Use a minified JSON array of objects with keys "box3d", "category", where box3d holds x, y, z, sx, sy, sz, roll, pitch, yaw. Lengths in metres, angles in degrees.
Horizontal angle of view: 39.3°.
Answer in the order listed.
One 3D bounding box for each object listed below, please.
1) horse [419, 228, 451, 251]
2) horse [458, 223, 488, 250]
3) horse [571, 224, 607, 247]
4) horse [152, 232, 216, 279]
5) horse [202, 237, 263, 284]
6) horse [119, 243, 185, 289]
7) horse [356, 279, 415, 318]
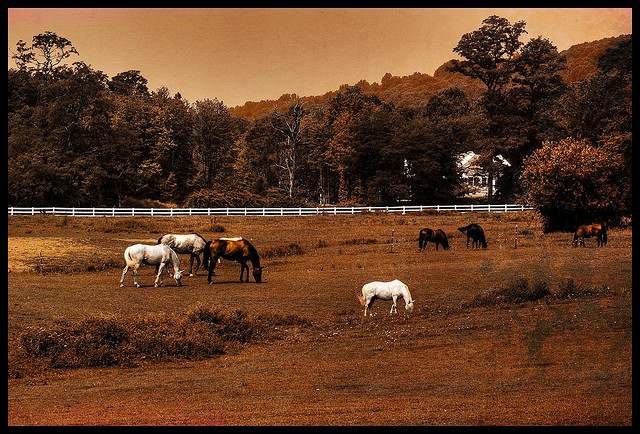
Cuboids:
[{"box3d":[10.288,1.970,80.097,2.425,1.957,1.638,-5,-4,35],"category":"horse"},{"box3d":[14.373,1.785,81.787,1.935,2.298,4.386,-3,-4,9],"category":"horse"},{"box3d":[24.217,1.660,80.141,3.504,2.035,2.180,-2,-4,-9],"category":"horse"},{"box3d":[-10.386,2.906,69.999,5.337,3.301,1.360,2,-10,-29],"category":"horse"},{"box3d":[-6.330,3.278,66.245,4.719,3.364,1.299,4,-2,-24],"category":"horse"},{"box3d":[-11.865,3.540,64.115,4.521,3.137,1.298,7,-7,-28],"category":"horse"},{"box3d":[4.498,5.421,59.329,3.352,2.375,1.418,-3,-3,0],"category":"horse"}]
